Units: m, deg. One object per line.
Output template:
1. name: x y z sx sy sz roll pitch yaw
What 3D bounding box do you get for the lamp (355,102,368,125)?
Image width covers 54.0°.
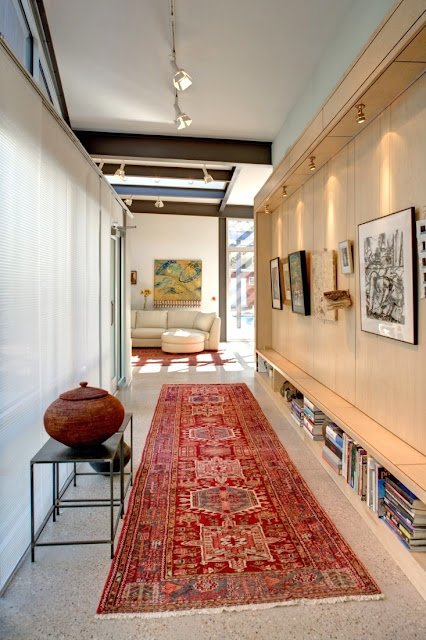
1. lamp: 0.854 -1.188 2.405 0.067 0.150 0.073 1 8 3

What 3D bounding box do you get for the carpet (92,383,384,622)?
1. carpet: 0.068 1.072 2.400 1.137 0.032 1.594 -1 3 -4

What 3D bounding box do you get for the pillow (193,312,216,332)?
1. pillow: -0.189 0.056 9.317 0.122 0.425 0.412 27 -9 -32

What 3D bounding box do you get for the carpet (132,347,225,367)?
1. carpet: -0.692 0.722 8.309 1.807 0.061 2.298 -1 3 -7

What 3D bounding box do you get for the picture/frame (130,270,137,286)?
1. picture/frame: -1.943 -1.028 10.316 0.125 0.351 0.044 -1 2 -11

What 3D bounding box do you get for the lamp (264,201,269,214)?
1. lamp: 0.710 -1.463 5.519 0.058 0.128 0.065 0 5 -2

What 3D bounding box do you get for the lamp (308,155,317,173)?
1. lamp: 0.829 -1.296 3.478 0.060 0.132 0.065 1 7 5
